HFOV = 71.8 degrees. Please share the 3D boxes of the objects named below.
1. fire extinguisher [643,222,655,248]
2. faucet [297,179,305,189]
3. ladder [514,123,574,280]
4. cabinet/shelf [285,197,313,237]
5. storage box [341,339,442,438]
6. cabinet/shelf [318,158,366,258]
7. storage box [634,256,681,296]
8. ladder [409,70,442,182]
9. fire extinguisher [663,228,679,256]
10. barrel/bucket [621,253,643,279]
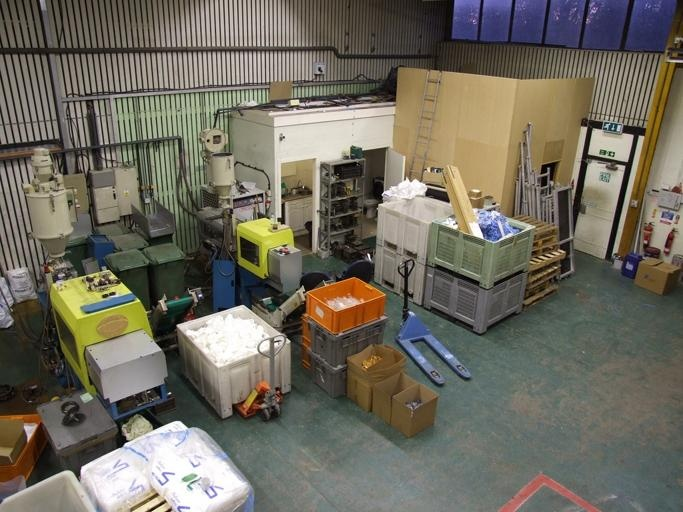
[{"bbox_3d":[6.434,-0.459,9.844,0.168,0.658,0.210,17,37,34],"label":"fire extinguisher"},{"bbox_3d":[-0.945,-1.708,11.320,0.206,0.182,0.303,-4,27,-4],"label":"faucet"},{"bbox_3d":[4.225,-1.154,9.661,1.323,2.973,0.959,8,27,21],"label":"ladder"},{"bbox_3d":[-0.976,-0.912,10.719,0.764,0.761,0.441,-20,29,-40],"label":"cabinet/shelf"},{"bbox_3d":[0.649,1.773,6.525,0.869,0.744,1.263,-21,37,-31],"label":"storage box"},{"bbox_3d":[-0.029,-1.061,10.215,0.413,2.707,1.346,19,29,36],"label":"cabinet/shelf"},{"bbox_3d":[6.347,0.379,9.481,0.612,0.512,0.640,-22,33,-34],"label":"storage box"},{"bbox_3d":[1.830,-2.827,10.390,0.354,2.317,0.605,-22,32,-36],"label":"ladder"},{"bbox_3d":[6.724,-0.278,9.627,0.159,0.588,0.151,-21,31,-34],"label":"fire extinguisher"},{"bbox_3d":[6.030,0.208,9.750,0.325,0.503,0.331,4,19,-1],"label":"barrel/bucket"}]
